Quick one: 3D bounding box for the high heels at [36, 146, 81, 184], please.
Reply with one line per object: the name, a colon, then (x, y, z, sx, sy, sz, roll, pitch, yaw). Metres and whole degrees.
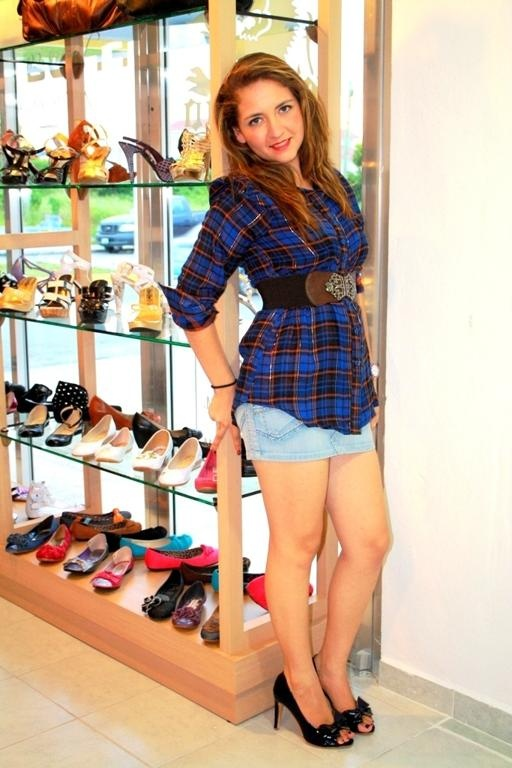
high heels: (-0.688, -0.752, 2.097, 0.103, 0.161, 0.063, 11, 0, 18)

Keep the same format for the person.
person: (0.087, 0.100, 1.335, 0.314, 1.521, 0.530, 0, 1, 37)

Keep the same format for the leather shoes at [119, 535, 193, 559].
leather shoes: (-0.363, 0.562, 2.187, 0.235, 0.085, 0.090, -8, 10, -31)

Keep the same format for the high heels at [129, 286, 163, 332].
high heels: (-0.332, -0.225, 1.854, 0.095, 0.170, 0.057, 0, -14, -2)

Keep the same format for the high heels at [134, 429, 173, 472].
high heels: (-0.317, 0.213, 1.912, 0.065, 0.072, 0.178, 0, 12, 10)

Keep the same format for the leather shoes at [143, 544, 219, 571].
leather shoes: (-0.247, 0.596, 2.058, 0.270, 0.073, 0.096, -5, 9, -21)

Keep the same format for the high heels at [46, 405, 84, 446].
high heels: (-0.716, 0.160, 2.259, 0.064, 0.081, 0.196, 3, 17, 6)

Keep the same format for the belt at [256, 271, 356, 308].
belt: (0.103, -0.189, 1.228, 0.111, 0.033, 0.103, -4, 9, 32)

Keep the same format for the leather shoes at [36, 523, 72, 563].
leather shoes: (-0.727, 0.574, 2.190, 0.064, 0.059, 0.161, 3, 11, 4)

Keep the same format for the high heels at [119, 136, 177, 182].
high heels: (-0.328, -0.674, 1.745, 0.132, 0.111, 0.352, -10, 28, -20)

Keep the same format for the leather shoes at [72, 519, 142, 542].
leather shoes: (-0.568, 0.541, 2.279, 0.185, 0.073, 0.106, -9, 11, -25)

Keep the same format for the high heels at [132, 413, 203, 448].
high heels: (-0.291, 0.162, 2.165, 0.307, 0.148, 0.100, -3, 11, -13)

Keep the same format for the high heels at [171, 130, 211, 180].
high heels: (-0.170, -0.595, 1.551, 0.085, 0.190, 0.072, 6, -25, -13)

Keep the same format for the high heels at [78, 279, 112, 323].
high heels: (-0.546, -0.275, 2.066, 0.074, 0.078, 0.216, -1, 36, 0)

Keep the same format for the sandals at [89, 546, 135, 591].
sandals: (-0.470, 0.613, 1.994, 0.059, 0.061, 0.155, 4, 6, 11)

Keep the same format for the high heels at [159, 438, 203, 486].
high heels: (-0.221, 0.223, 1.795, 0.073, 0.071, 0.179, 5, 20, 17)

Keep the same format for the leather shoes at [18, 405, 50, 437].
leather shoes: (-0.857, 0.151, 2.355, 0.060, 0.069, 0.176, -2, 9, 0)

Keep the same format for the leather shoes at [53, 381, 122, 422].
leather shoes: (-0.674, 0.058, 2.391, 0.113, 0.131, 0.331, -11, 16, -39)

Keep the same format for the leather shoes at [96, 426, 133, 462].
leather shoes: (-0.473, 0.207, 2.026, 0.059, 0.061, 0.162, 2, 9, 13)

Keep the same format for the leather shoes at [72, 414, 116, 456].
leather shoes: (-0.565, 0.177, 2.139, 0.070, 0.077, 0.195, 4, 25, 22)

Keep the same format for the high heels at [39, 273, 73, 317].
high heels: (-0.723, -0.334, 2.242, 0.085, 0.077, 0.236, -1, 30, -2)
